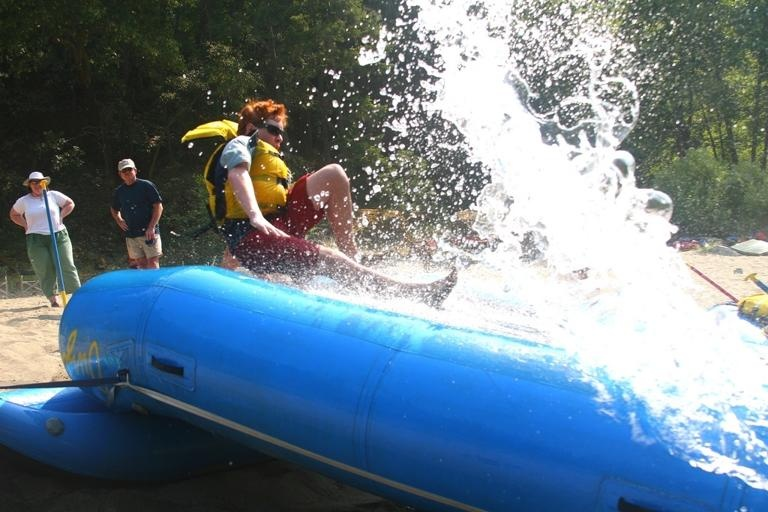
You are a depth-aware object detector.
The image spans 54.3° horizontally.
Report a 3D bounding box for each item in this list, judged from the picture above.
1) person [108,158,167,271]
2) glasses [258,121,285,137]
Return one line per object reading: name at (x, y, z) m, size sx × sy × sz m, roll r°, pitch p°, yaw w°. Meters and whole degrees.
person at (-3.156, -0.470, 9.591) m, size 0.605 × 1.513 × 1.168 m, roll -3°, pitch 15°, yaw -19°
glasses at (-1.043, -1.198, 6.993) m, size 0.144 × 0.049 × 0.145 m, roll 17°, pitch 0°, yaw 44°
